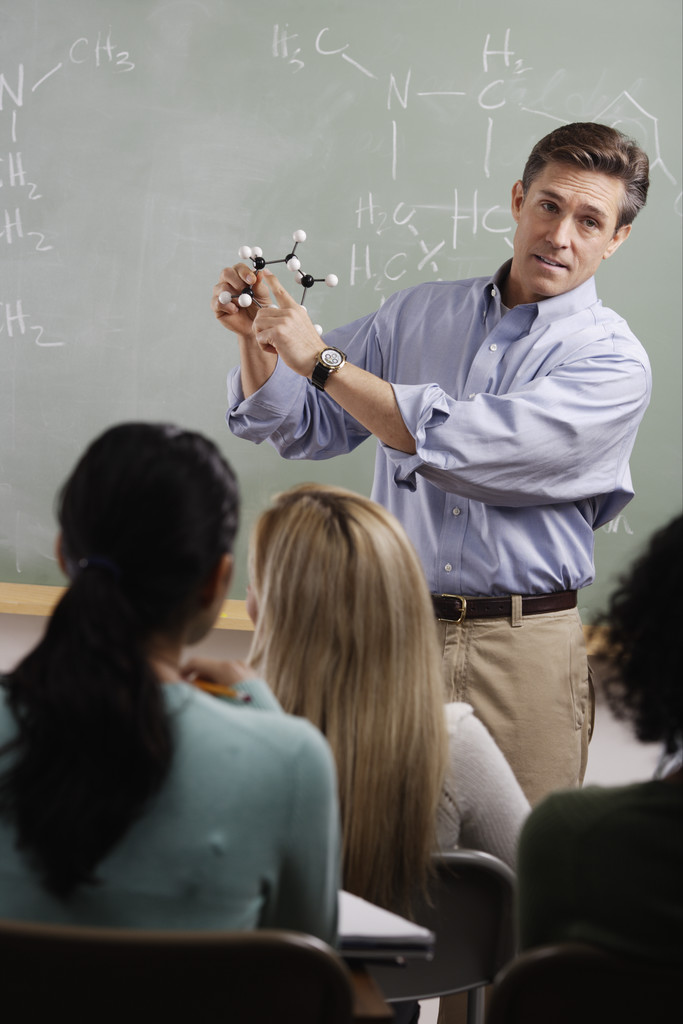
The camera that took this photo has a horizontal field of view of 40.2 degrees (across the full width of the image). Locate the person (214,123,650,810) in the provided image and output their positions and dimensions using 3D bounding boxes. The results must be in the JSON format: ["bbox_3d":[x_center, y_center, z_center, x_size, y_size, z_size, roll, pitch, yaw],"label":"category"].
[{"bbox_3d":[0.112,0.139,1.586,0.710,1.465,0.450,2,13,-9],"label":"person"}]

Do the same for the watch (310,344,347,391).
[{"bbox_3d":[-0.023,-0.211,1.348,0.041,0.061,0.059,31,-2,9],"label":"watch"}]
